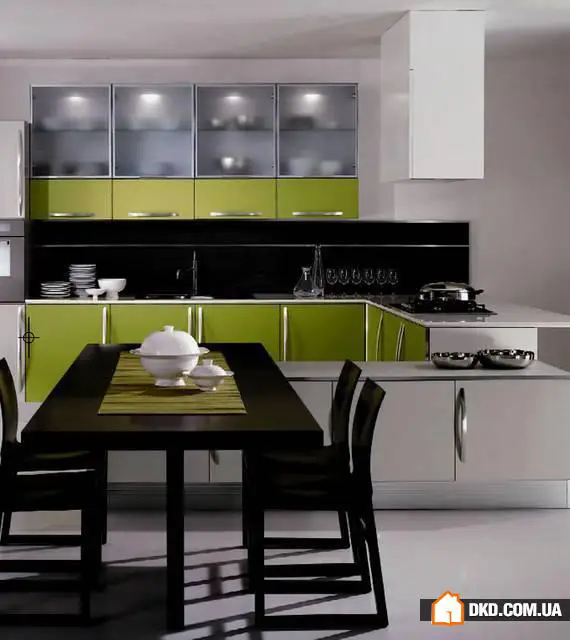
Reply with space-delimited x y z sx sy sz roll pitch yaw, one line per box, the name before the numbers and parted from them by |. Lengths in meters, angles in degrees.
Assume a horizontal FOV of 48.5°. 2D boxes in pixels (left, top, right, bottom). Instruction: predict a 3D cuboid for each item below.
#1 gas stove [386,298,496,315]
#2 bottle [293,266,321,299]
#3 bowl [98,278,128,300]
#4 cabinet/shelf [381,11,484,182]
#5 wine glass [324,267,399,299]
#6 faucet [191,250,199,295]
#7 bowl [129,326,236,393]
gas stove | 0.976 -0.081 3.974 0.588 0.078 0.565 1 0 5
bottle | 0.175 -0.303 5.182 0.221 0.280 0.239 0 0 0
bowl | -1.394 -0.257 5.089 0.171 0.152 0.184 -1 -1 0
cabinet/shelf | 0.973 -1.451 4.064 0.424 0.999 0.949 0 4 -2
wine glass | 0.718 -0.303 5.289 0.774 0.325 0.256 -1 8 -3
faucet | -0.769 -0.402 5.366 0.058 0.384 0.193 1 0 -9
bowl | -0.338 0.128 2.107 0.224 0.157 0.218 -1 0 0
